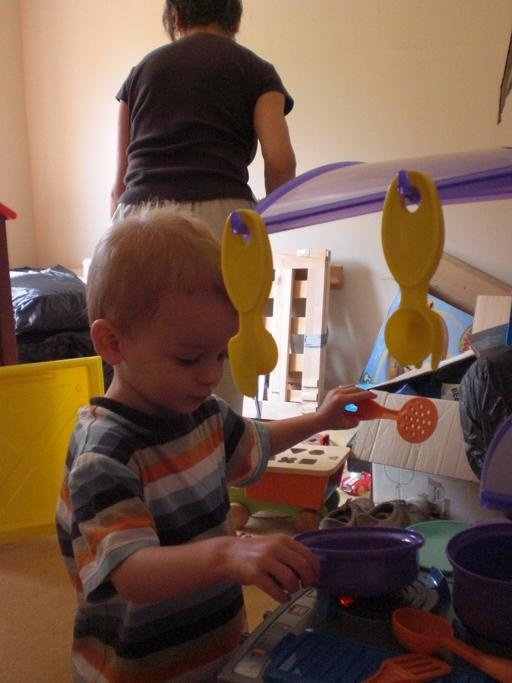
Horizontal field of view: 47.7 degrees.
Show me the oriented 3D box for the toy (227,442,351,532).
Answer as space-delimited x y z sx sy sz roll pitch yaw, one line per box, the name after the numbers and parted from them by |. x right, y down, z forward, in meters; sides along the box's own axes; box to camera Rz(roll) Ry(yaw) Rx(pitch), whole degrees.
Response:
0.098 0.354 1.441 0.319 0.192 0.247 -11 5 26 | toy

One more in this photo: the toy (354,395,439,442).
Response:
0.194 0.109 0.827 0.040 0.068 0.142 -8 12 -44 | toy

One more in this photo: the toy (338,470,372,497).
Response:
0.300 0.422 1.740 0.066 0.042 0.112 0 -3 9 | toy
